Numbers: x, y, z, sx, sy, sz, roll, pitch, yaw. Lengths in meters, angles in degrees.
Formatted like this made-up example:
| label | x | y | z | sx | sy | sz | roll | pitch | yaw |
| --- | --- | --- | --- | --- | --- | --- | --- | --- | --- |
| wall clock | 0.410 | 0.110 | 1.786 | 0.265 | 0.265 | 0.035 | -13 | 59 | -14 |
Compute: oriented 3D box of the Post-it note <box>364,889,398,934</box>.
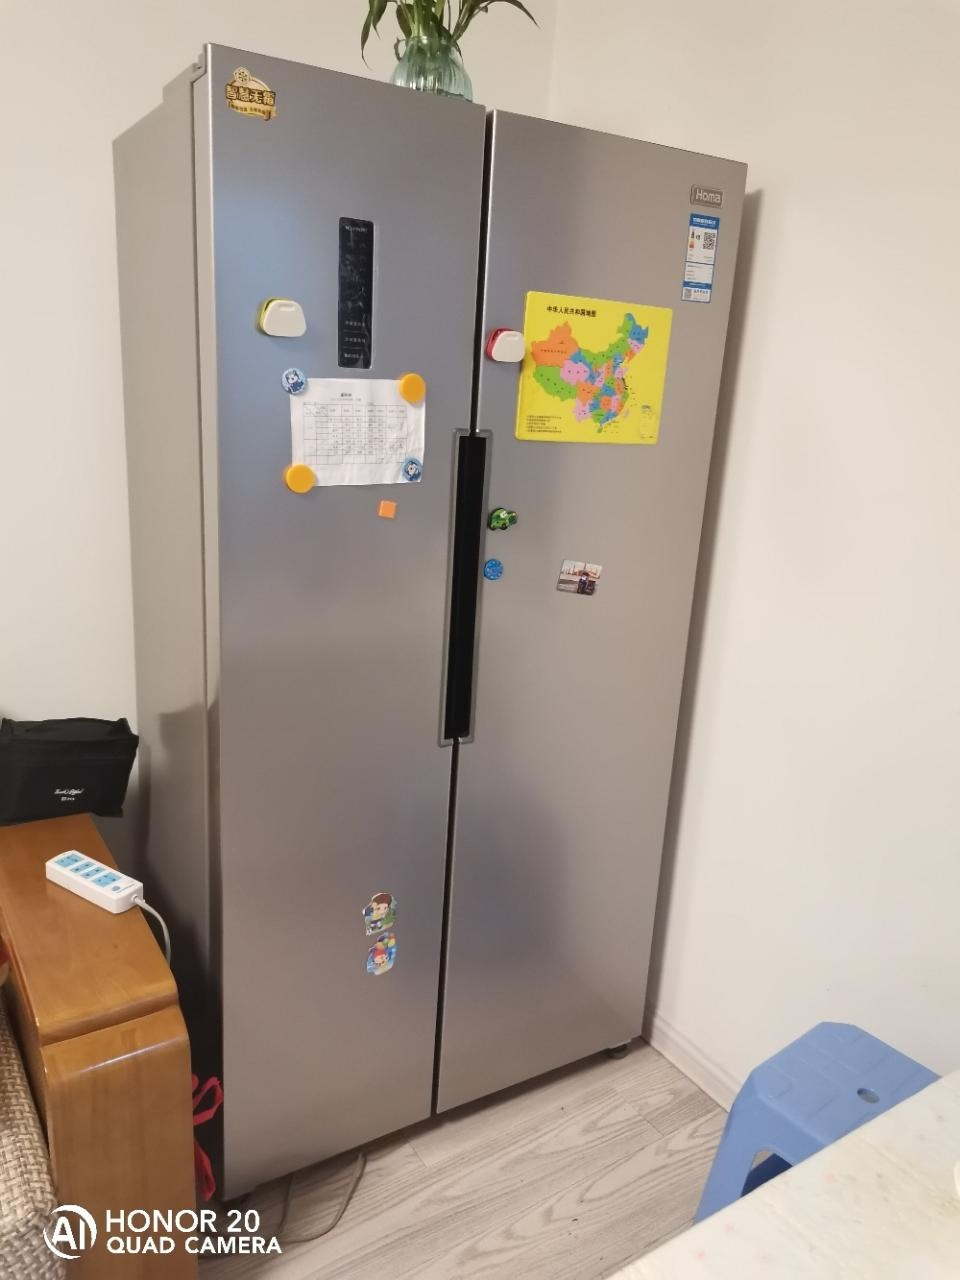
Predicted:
| label | x | y | z | sx | sy | sz | roll | pitch | yaw |
| --- | --- | --- | --- | --- | --- | --- | --- | --- | --- |
| Post-it note | -0.157 | 0.439 | 1.672 | 0.058 | 0.068 | 0.017 | -5 | 21 | -35 |

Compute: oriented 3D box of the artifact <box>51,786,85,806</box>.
| label | x | y | z | sx | sy | sz | roll | pitch | yaw |
| --- | --- | --- | --- | --- | --- | --- | --- | --- | --- |
| artifact | -0.670 | 0.254 | 1.696 | 0.044 | 0.028 | 0.018 | -3 | 1 | -23 |

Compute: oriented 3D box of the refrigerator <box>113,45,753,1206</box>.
| label | x | y | z | sx | sy | sz | roll | pitch | yaw |
| --- | --- | --- | --- | --- | --- | --- | --- | --- | --- |
| refrigerator | -0.040 | 0.049 | 1.673 | 0.894 | 1.483 | 0.548 | -3 | 1 | -31 |

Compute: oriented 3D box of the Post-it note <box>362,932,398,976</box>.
| label | x | y | z | sx | sy | sz | roll | pitch | yaw |
| --- | --- | --- | --- | --- | --- | --- | --- | --- | --- |
| Post-it note | -0.161 | 0.513 | 1.699 | 0.054 | 0.071 | 0.017 | 5 | 8 | -38 |

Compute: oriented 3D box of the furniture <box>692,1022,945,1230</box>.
| label | x | y | z | sx | sy | sz | roll | pitch | yaw |
| --- | --- | --- | --- | --- | --- | --- | --- | --- | --- |
| furniture | 0.477 | 0.700 | 1.470 | 0.240 | 0.188 | 0.229 | -3 | 1 | -31 |

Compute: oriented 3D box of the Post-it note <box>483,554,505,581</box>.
| label | x | y | z | sx | sy | sz | roll | pitch | yaw |
| --- | --- | --- | --- | --- | --- | --- | --- | --- | --- |
| Post-it note | 0.022 | -0.110 | 1.597 | 0.034 | 0.032 | 0.015 | -16 | 20 | -37 |

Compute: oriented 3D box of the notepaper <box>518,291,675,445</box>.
| label | x | y | z | sx | sy | sz | roll | pitch | yaw |
| --- | --- | --- | --- | --- | --- | --- | --- | --- | --- |
| notepaper | 0.179 | -0.416 | 1.610 | 0.318 | 0.214 | 0.013 | -9 | 20 | -39 |

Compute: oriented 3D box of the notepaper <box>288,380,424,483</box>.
| label | x | y | z | sx | sy | sz | roll | pitch | yaw |
| --- | --- | --- | --- | --- | --- | --- | --- | --- | --- |
| notepaper | -0.177 | -0.287 | 1.413 | 0.152 | 0.103 | 0.008 | -13 | 30 | -28 |
